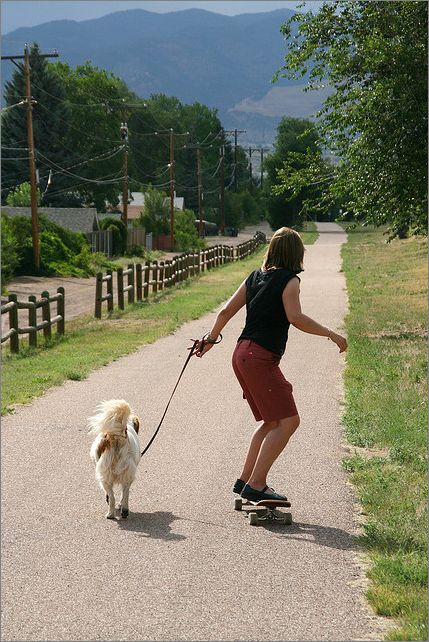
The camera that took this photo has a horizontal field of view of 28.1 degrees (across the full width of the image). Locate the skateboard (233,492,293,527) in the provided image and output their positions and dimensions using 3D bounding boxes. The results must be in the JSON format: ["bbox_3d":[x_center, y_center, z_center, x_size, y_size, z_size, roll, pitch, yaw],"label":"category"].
[{"bbox_3d":[0.336,1.333,6.013,0.405,0.139,0.385,0,4,2],"label":"skateboard"}]

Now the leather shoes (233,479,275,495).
[{"bbox_3d":[0.281,1.218,6.343,0.339,0.138,0.113,1,5,0],"label":"leather shoes"}]

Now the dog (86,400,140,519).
[{"bbox_3d":[-0.722,0.952,6.171,0.357,0.823,0.583,-1,4,-6],"label":"dog"}]

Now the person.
[{"bbox_3d":[0.377,0.316,6.195,0.920,2.008,0.804,0,4,-1],"label":"person"}]

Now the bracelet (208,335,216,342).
[{"bbox_3d":[-0.017,0.138,6.498,0.039,0.028,0.051,3,-1,23],"label":"bracelet"}]

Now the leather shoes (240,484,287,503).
[{"bbox_3d":[0.348,1.222,6.092,0.316,0.111,0.128,0,-6,1],"label":"leather shoes"}]
